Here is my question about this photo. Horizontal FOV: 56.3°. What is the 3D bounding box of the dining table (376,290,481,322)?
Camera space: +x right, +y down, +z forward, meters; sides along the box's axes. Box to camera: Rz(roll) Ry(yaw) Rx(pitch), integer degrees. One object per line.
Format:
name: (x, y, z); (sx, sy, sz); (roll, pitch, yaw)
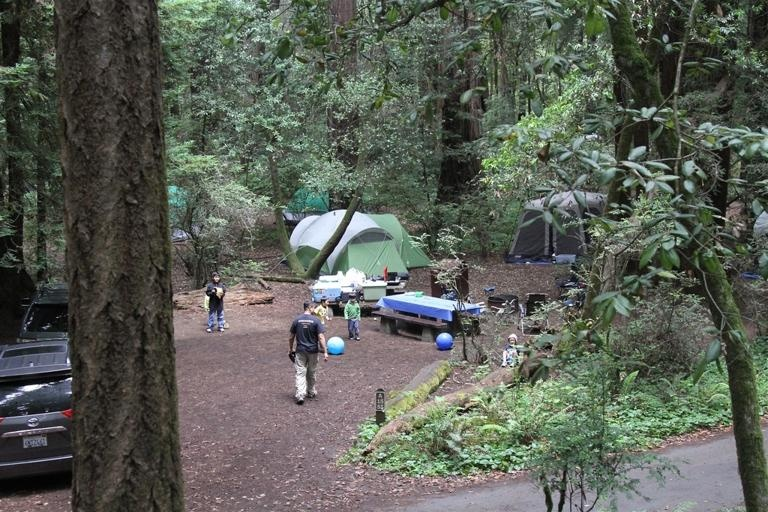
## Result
dining table: (1.208, 1.509, 20.714); (0.816, 0.638, 3.415); (-8, 9, -34)

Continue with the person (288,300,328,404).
person: (-1.596, 2.016, 15.045); (0.756, 2.009, 0.890); (-4, 8, -6)

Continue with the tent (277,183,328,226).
tent: (-4.550, -2.896, 41.489); (2.331, 1.997, 1.949); (-2, 4, -35)

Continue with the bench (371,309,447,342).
bench: (0.649, 2.044, 20.805); (2.106, 0.523, 0.361); (10, 17, 14)

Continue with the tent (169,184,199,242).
tent: (-7.584, -1.538, 27.010); (0.918, 2.309, 3.653); (-5, 8, -16)
